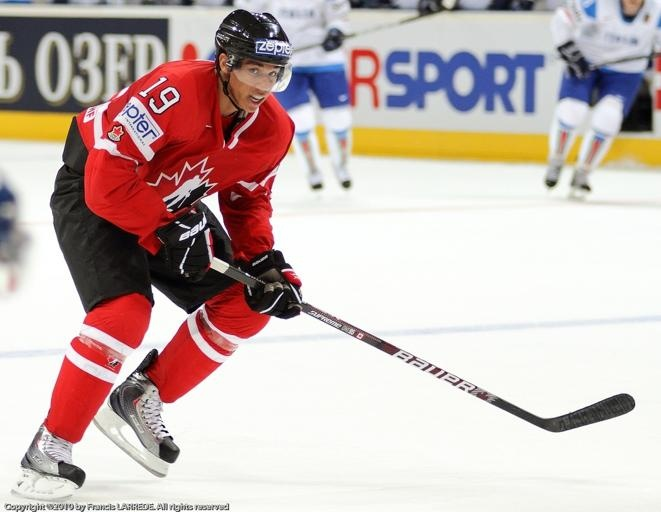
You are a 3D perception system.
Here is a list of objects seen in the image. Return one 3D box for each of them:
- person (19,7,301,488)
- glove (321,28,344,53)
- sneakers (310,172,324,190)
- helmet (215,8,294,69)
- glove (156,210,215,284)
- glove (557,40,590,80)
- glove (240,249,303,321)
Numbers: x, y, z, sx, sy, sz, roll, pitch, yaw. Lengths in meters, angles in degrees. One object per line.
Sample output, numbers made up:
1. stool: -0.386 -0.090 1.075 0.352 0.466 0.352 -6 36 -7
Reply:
1. person: -0.517 -0.032 2.199 0.963 1.227 0.538 -19 33 -37
2. glove: 0.023 -1.531 5.591 0.167 0.164 0.090 1 25 -1
3. sneakers: -0.095 -0.509 5.434 0.097 0.104 0.114 0 24 -2
4. helmet: -0.209 -0.586 2.142 0.212 0.167 0.167 14 21 25
5. glove: -0.429 -0.024 2.187 0.151 0.177 0.079 18 4 -35
6. glove: 1.608 -1.268 5.103 0.196 0.250 0.084 -42 30 2
7. glove: -0.161 0.087 2.289 0.099 0.157 0.219 -38 5 14
